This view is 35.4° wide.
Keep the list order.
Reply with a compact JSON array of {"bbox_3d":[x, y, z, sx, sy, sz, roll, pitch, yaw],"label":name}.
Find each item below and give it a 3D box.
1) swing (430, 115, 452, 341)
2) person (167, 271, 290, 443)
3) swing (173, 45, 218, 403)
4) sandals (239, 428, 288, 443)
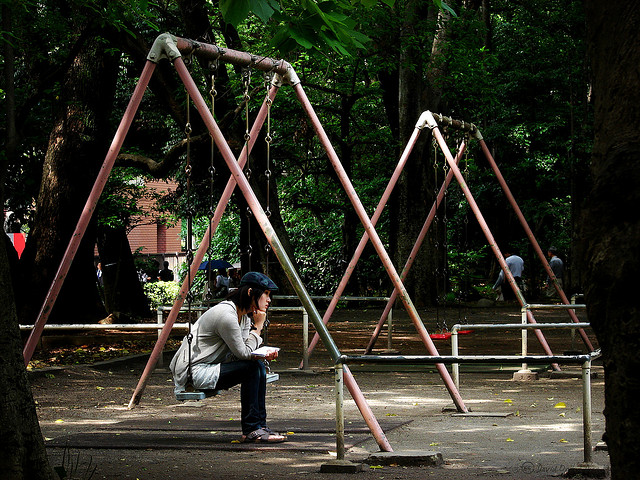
[{"bbox_3d":[3.018,-0.239,25.194,0.619,6.276,0.558,4,4,34],"label":"swing"},{"bbox_3d":[-0.983,1.247,10.643,1.250,1.719,0.718,0,-1,-2],"label":"person"},{"bbox_3d":[-2.352,-0.633,18.823,0.727,6.458,0.576,2,5,28],"label":"swing"},{"bbox_3d":[-0.603,2.000,10.270,0.415,0.154,0.167,-1,-7,8],"label":"sandals"}]
